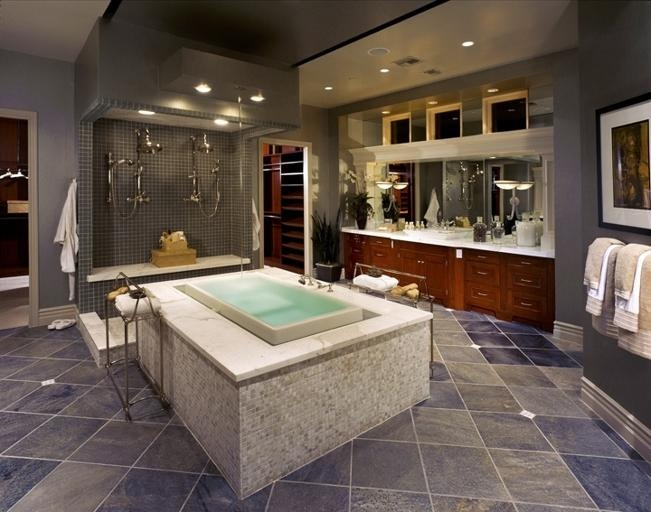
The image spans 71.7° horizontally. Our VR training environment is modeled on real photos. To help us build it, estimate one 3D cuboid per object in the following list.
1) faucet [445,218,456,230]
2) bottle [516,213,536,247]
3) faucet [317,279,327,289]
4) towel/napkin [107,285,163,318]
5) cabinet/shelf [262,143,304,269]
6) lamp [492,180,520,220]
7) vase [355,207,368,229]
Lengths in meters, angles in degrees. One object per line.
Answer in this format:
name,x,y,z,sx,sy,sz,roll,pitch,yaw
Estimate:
faucet,1.846,-0.473,6.697,0.087,0.169,0.160,-1,6,-21
bottle,2.475,-0.274,5.550,0.231,0.296,0.196,3,13,21
faucet,-0.019,0.288,4.501,0.049,0.077,0.164,-5,-3,30
towel/napkin,-1.577,0.386,3.697,0.346,0.131,0.347,-1,10,-44
cabinet/shelf,-0.898,-1.052,9.200,0.605,2.431,1.697,-7,13,-25
lamp,2.373,-0.729,5.812,0.395,0.477,0.431,-2,6,2
vase,0.619,-0.645,7.821,0.268,0.455,0.278,0,-1,-6
